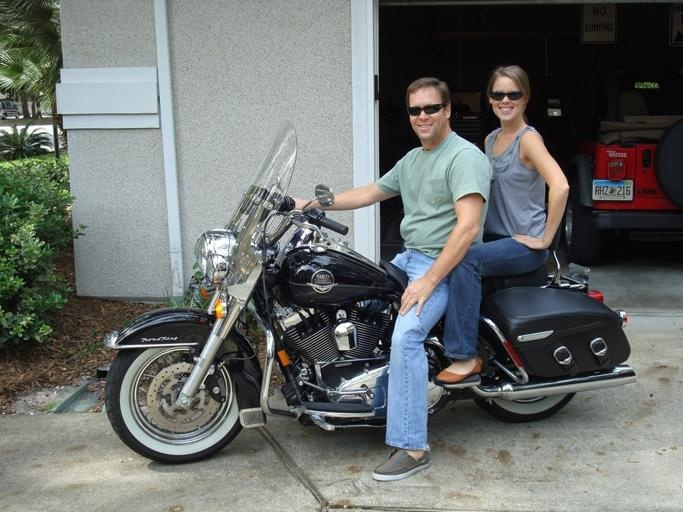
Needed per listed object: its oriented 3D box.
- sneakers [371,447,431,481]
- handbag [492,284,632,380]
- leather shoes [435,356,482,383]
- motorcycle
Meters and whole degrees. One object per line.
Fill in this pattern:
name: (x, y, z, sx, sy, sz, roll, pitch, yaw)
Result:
sneakers: (0.320, 1.123, 3.330, 0.323, 0.104, 0.136, -5, 7, -29)
handbag: (1.258, 0.428, 3.601, 0.737, 0.290, 0.529, -5, 15, -10)
leather shoes: (0.661, 0.641, 3.426, 0.279, 0.088, 0.106, -5, 10, -21)
motorcycle: (0.173, 0.324, 3.456, 2.970, 1.293, 1.018, -3, -4, -9)
